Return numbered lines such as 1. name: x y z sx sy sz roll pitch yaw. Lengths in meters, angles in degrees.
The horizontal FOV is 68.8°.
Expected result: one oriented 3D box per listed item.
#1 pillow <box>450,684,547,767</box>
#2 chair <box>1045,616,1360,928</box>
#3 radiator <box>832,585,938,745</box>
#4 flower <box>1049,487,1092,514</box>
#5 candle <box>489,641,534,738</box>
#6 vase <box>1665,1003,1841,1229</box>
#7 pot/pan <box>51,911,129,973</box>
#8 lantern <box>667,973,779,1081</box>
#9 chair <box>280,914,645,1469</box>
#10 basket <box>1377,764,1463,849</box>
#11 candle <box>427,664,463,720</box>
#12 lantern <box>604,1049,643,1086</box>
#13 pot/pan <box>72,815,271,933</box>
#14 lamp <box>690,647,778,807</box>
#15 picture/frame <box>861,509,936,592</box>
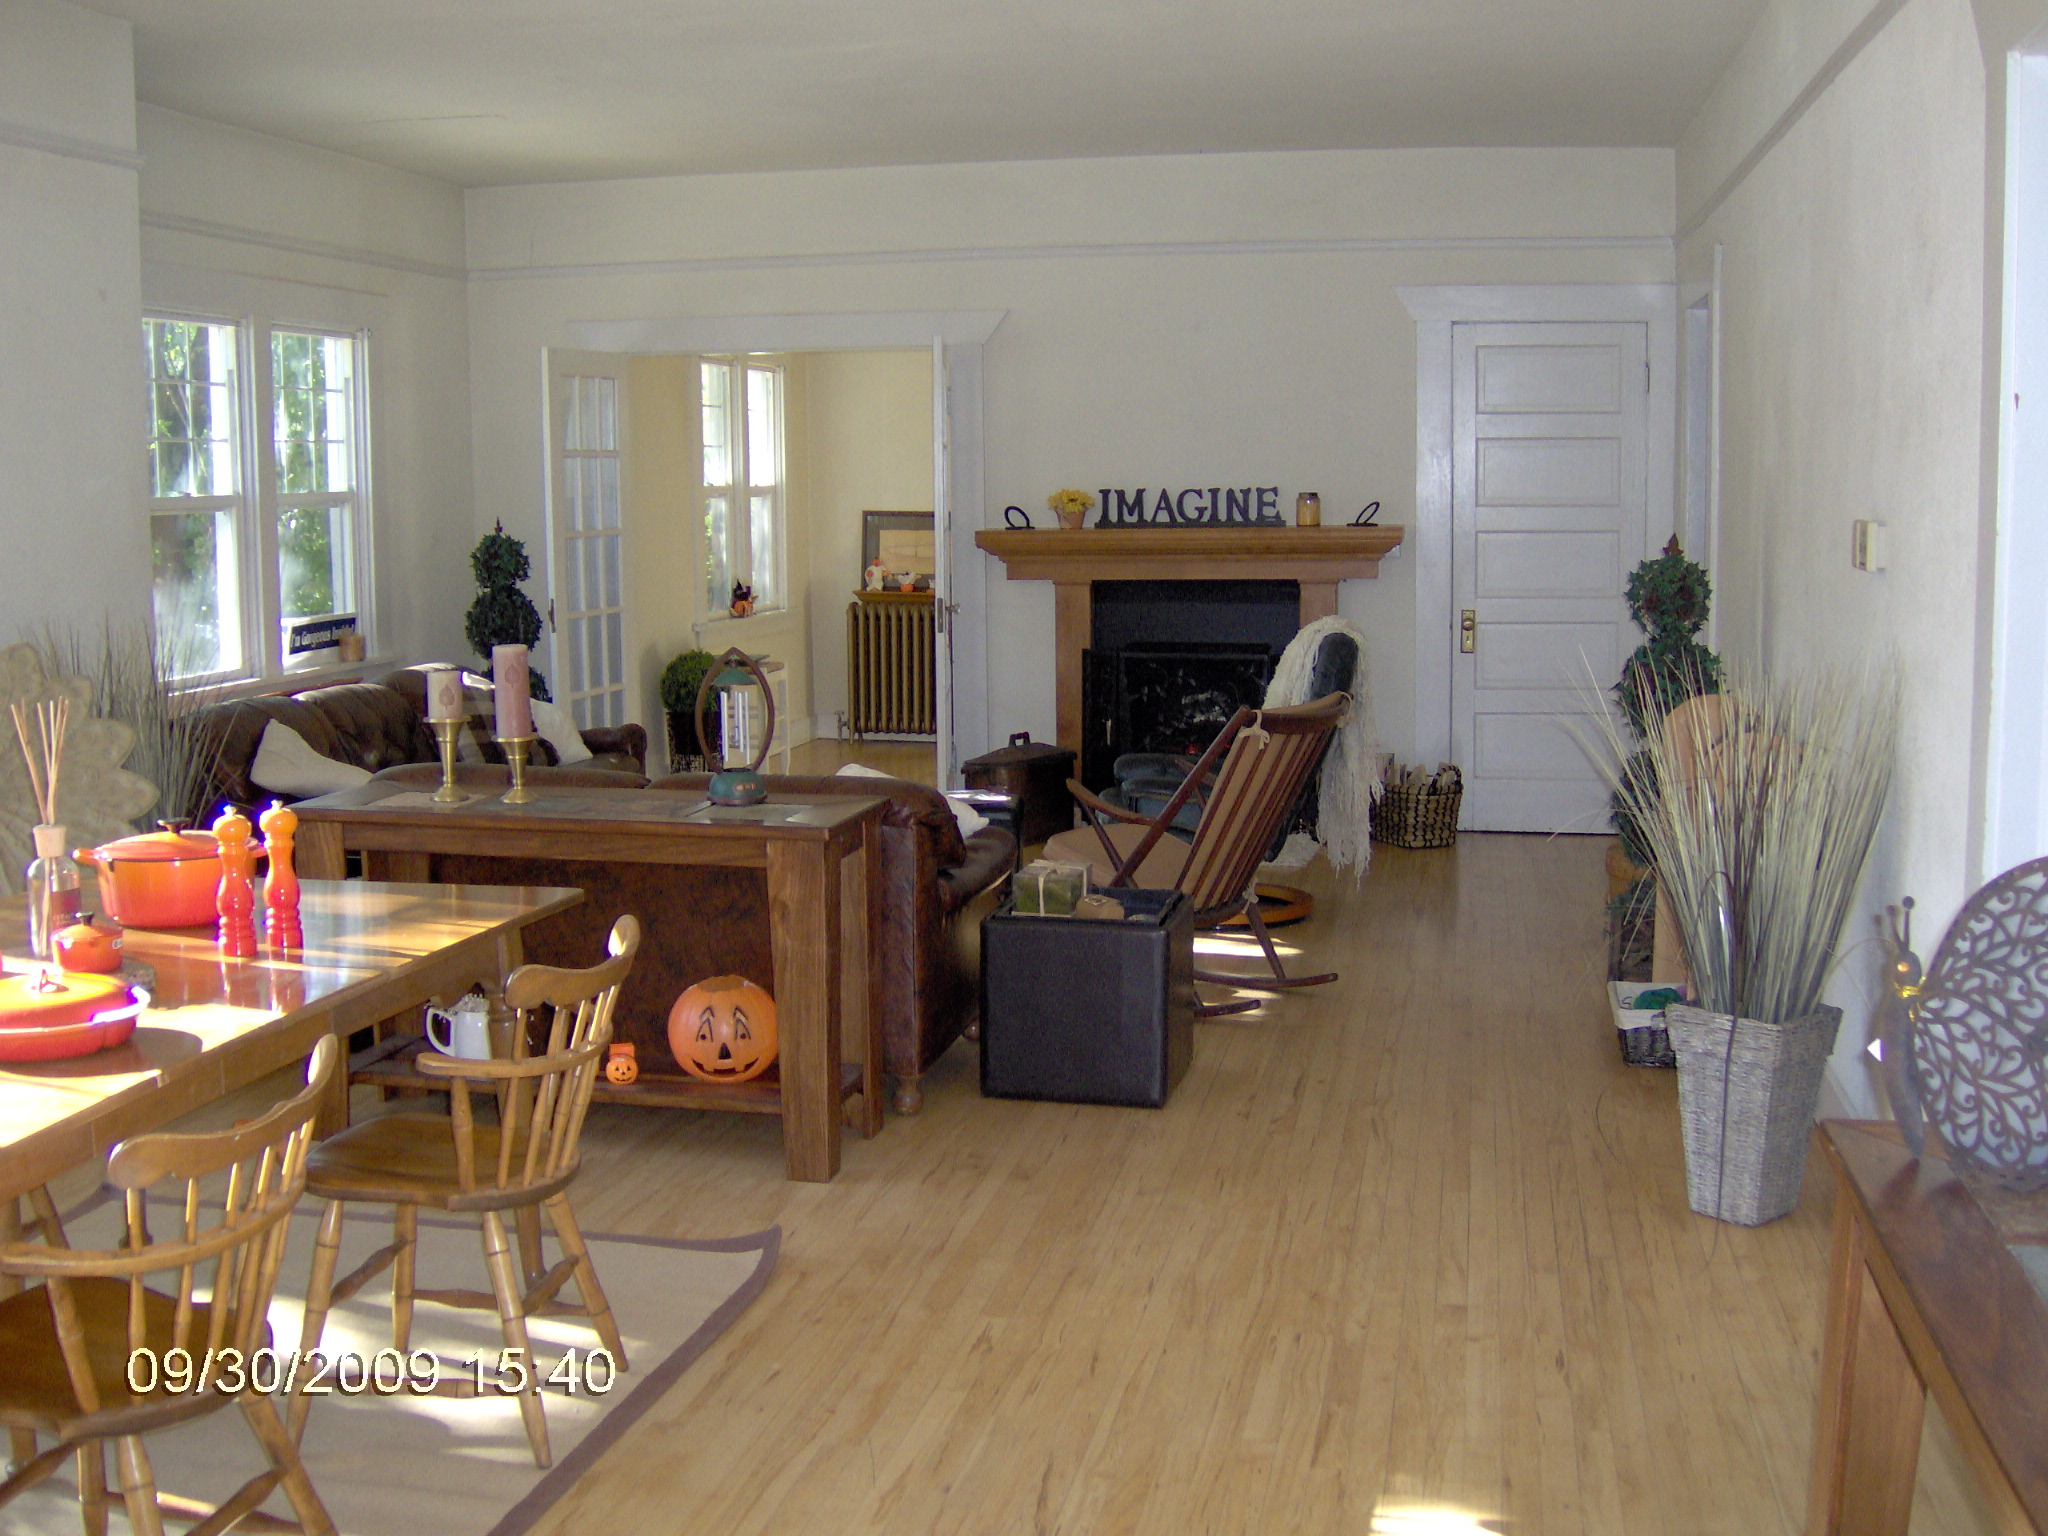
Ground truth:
1. pillow: -1.943 -0.138 5.518 0.353 0.096 0.394 -2 24 -18
2. chair: 0.624 0.142 5.981 0.851 1.213 1.078 -10 24 -41
3. radiator: -1.002 -0.774 11.342 0.726 1.154 0.364 1 4 11
4. flower: 0.278 -1.523 8.486 0.216 0.149 0.253 1 10 6
5. candle: -1.458 -0.209 4.248 0.089 0.273 0.150 -4 10 -23
6. vase: 1.743 0.923 3.870 0.401 0.484 0.427 0 -27 21
7. pot/pan: -1.722 0.332 2.760 0.099 0.091 0.103 10 12 36
8. lantern: -0.850 0.748 4.234 0.281 0.297 0.290 0 -2 -15
9. chair: -1.146 0.820 2.971 0.615 0.867 0.583 12 -15 -42
10. basket: 2.133 0.190 8.207 0.403 0.444 0.440 5 8 35
11. candle: -1.610 -0.196 4.153 0.079 0.163 0.119 -3 10 -19
12. lantern: -1.170 0.871 4.342 0.087 0.098 0.092 -1 2 -44
13. pot/pan: -1.847 0.225 3.209 0.248 0.212 0.324 7 7 37
14. lamp: -0.834 -0.116 4.295 0.245 0.440 0.221 -1 -3 -14
15. picture/frame: -0.951 -1.667 11.449 0.722 0.763 0.057 2 9 14
